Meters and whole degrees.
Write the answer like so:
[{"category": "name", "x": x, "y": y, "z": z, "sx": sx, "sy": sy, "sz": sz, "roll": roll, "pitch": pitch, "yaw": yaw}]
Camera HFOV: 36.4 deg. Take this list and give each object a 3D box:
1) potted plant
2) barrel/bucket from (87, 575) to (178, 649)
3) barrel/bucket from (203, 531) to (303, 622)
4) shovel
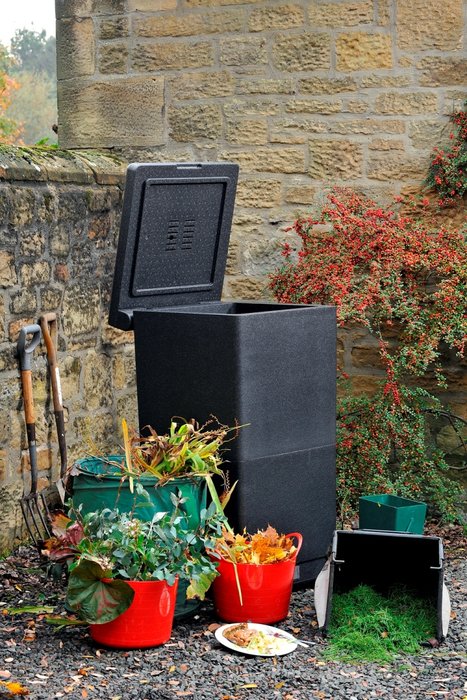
[{"category": "potted plant", "x": -0.274, "y": 0.604, "z": 1.912, "sx": 0.427, "sy": 0.266, "sz": 0.404, "roll": 3, "pitch": 0, "yaw": -7}, {"category": "barrel/bucket", "x": -0.275, "y": 0.744, "z": 2.028, "sx": 0.238, "sy": 0.182, "sz": 0.240, "roll": 0, "pitch": -13, "yaw": 0}, {"category": "barrel/bucket", "x": 0.079, "y": 0.676, "z": 2.213, "sx": 0.294, "sy": 0.232, "sz": 0.263, "roll": 1, "pitch": -1, "yaw": 10}, {"category": "shovel", "x": -0.666, "y": 0.181, "z": 2.619, "sx": 0.122, "sy": 0.639, "sz": 0.751, "roll": 2, "pitch": 3, "yaw": -13}]
